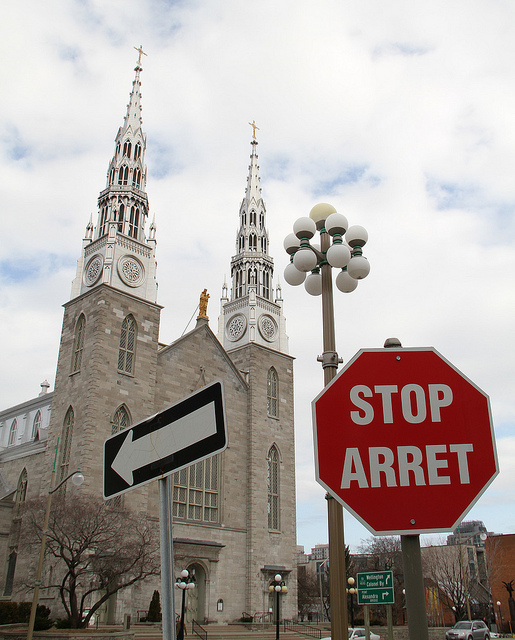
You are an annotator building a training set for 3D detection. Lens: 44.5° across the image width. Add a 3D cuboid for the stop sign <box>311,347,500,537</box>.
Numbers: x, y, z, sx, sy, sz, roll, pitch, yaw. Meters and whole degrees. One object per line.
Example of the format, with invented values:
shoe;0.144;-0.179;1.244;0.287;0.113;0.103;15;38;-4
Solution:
stop sign;0.727;0.691;3.149;0.859;1.067;0.960;-2;-17;5
